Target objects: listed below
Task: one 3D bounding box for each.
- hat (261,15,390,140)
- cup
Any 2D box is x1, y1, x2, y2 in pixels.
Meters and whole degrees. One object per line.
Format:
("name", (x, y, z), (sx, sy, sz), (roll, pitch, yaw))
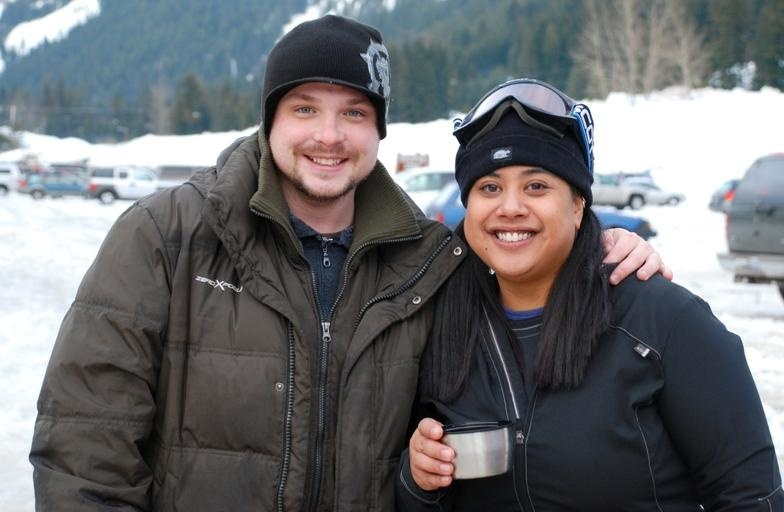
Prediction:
("hat", (-0.456, -1.271, 5.541), (0.638, 0.622, 0.937), (4, -2, -1))
("cup", (0.566, 1.208, 5.438), (0.439, 0.305, 0.439), (-6, -1, 0))
